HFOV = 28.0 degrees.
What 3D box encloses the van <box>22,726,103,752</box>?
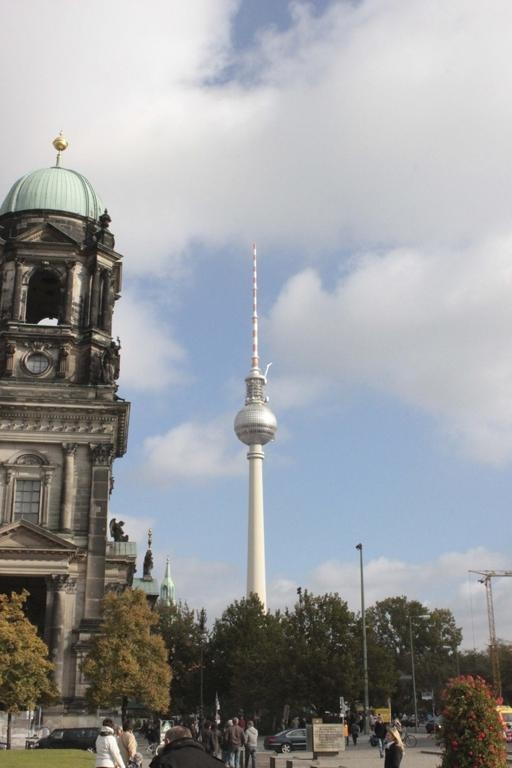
[{"bbox_3d":[-8.494,15.827,45.374,2.873,0.869,4.820,4,-15,-15],"label":"van"}]
